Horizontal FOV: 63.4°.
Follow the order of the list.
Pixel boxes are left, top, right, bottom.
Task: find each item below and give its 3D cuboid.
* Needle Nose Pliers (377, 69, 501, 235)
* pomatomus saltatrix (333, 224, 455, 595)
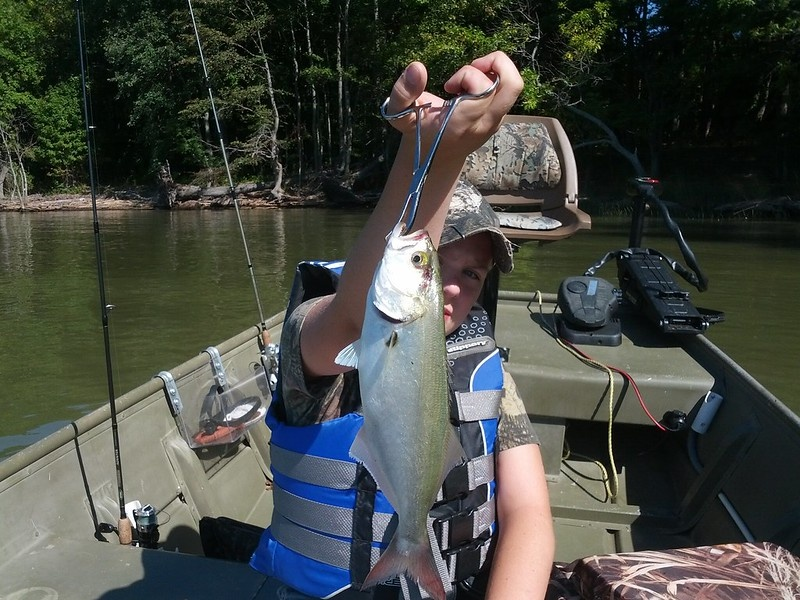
[{"bbox_3d":[0.069,-0.393,1.778,0.247,0.501,0.036,13,-4,25],"label":"Needle Nose Pliers"},{"bbox_3d":[-0.002,0.336,1.819,0.274,1.074,0.131,-2,13,-5],"label":"pomatomus saltatrix"}]
